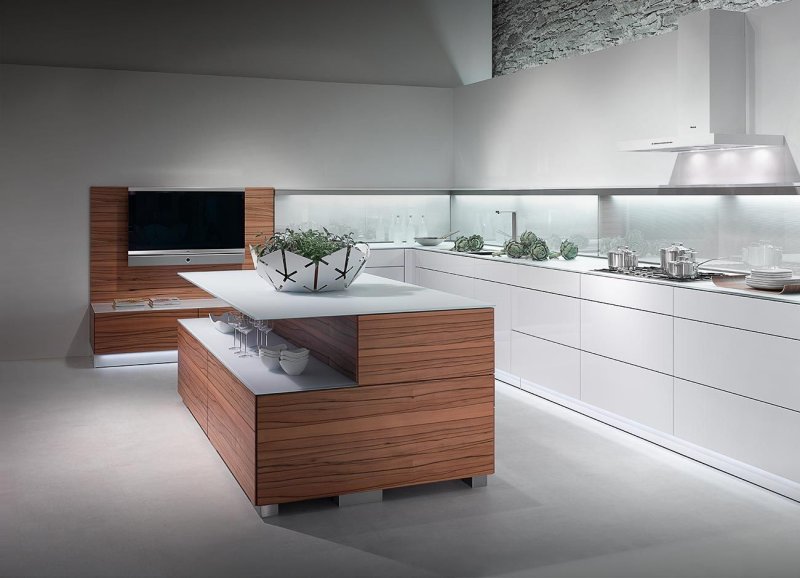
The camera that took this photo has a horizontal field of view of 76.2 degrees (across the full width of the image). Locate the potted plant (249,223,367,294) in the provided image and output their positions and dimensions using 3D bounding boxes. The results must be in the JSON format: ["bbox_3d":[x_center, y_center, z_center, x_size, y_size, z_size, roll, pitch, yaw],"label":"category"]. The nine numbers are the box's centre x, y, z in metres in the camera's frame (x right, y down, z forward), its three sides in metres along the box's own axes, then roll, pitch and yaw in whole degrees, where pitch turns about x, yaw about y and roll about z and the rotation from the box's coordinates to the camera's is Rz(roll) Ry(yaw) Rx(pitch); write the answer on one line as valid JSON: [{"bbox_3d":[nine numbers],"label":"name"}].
[{"bbox_3d":[-0.631,-0.184,3.226,0.554,0.234,0.574,1,0,-35],"label":"potted plant"}]

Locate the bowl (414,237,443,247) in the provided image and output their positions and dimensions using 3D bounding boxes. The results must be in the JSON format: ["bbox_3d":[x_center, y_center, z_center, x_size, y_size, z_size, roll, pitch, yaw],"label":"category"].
[{"bbox_3d":[0.351,-0.637,6.788,0.325,0.108,0.309,0,4,0],"label":"bowl"}]

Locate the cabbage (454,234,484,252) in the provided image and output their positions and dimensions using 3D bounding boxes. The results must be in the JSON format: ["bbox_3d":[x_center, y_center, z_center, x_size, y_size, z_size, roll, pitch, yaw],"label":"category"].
[{"bbox_3d":[0.800,-0.521,5.925,0.270,0.135,0.252,0,2,-20],"label":"cabbage"}]

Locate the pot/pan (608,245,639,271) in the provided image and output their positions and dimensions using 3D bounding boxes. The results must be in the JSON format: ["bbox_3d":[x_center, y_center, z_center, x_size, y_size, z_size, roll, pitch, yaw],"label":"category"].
[{"bbox_3d":[1.813,-0.251,4.083,0.228,0.172,0.210,0,2,-12],"label":"pot/pan"}]

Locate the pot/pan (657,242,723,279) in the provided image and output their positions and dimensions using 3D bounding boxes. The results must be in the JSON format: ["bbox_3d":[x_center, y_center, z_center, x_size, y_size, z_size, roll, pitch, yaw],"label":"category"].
[{"bbox_3d":[2.023,-0.209,3.719,0.251,0.208,0.523,-1,5,-15],"label":"pot/pan"}]

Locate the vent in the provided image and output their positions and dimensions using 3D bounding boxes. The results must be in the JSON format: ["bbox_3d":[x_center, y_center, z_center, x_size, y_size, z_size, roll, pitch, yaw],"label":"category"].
[{"bbox_3d":[2.299,-1.309,3.686,0.955,0.977,1.147,-1,1,-30],"label":"vent"}]

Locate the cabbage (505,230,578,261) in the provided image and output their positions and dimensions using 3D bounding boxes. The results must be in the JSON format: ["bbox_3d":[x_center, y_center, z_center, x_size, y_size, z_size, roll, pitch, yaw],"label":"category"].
[{"bbox_3d":[1.339,-0.386,5.028,0.484,0.192,0.435,3,2,-14],"label":"cabbage"}]

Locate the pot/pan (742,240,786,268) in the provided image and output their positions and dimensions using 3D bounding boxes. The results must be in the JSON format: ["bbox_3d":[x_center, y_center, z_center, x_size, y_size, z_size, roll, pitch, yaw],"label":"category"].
[{"bbox_3d":[2.527,-0.244,3.562,0.150,0.133,0.216,-2,8,-15],"label":"pot/pan"}]

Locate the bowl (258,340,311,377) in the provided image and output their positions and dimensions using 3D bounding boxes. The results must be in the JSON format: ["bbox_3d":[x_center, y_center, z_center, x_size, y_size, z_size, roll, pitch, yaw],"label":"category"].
[{"bbox_3d":[-0.650,0.382,2.849,0.180,0.097,0.229,1,1,-22],"label":"bowl"}]

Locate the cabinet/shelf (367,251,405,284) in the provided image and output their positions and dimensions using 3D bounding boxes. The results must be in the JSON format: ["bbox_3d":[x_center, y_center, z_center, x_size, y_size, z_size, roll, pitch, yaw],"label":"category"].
[{"bbox_3d":[-0.178,-0.280,5.888,0.519,0.421,0.257,0,1,-28],"label":"cabinet/shelf"}]

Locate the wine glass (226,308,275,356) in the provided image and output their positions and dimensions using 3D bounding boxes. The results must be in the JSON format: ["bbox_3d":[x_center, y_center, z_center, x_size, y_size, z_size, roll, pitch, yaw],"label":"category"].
[{"bbox_3d":[-1.099,0.273,3.621,0.226,0.299,0.909,-1,5,-29],"label":"wine glass"}]

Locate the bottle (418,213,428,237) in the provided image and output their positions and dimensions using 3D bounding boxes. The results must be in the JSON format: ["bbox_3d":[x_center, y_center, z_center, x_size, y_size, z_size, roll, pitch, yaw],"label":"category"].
[{"bbox_3d":[0.321,-0.911,7.147,0.129,0.312,0.174,1,4,6],"label":"bottle"}]

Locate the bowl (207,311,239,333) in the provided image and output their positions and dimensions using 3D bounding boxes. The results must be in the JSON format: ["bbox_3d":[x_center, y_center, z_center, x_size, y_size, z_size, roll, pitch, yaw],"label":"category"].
[{"bbox_3d":[-1.333,0.220,3.863,0.238,0.123,0.343,0,6,-23],"label":"bowl"}]
